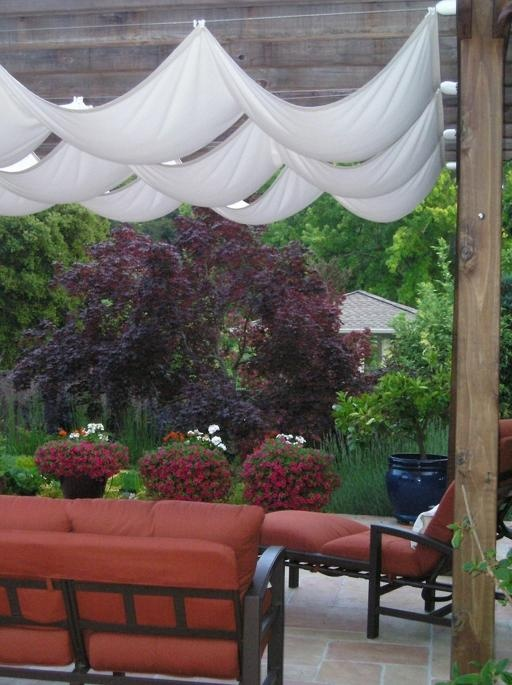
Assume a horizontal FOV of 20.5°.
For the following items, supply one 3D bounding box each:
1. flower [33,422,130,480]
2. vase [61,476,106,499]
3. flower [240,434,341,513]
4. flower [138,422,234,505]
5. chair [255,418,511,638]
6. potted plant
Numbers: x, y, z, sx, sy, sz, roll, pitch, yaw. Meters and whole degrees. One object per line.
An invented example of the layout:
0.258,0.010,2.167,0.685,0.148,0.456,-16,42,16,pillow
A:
-1.315,0.845,10.655,0.409,0.358,0.528,3,1,-5,flower
-1.297,1.066,10.460,0.316,0.271,0.349,1,-7,-5,vase
0.232,0.882,9.509,0.478,0.514,0.515,0,-4,22,flower
-0.485,0.903,10.201,0.529,0.467,0.658,0,-12,4,flower
0.654,1.052,7.985,1.417,1.116,0.870,1,-1,33,chair
1.257,0.749,11.076,1.084,1.561,1.012,3,-3,-40,potted plant
